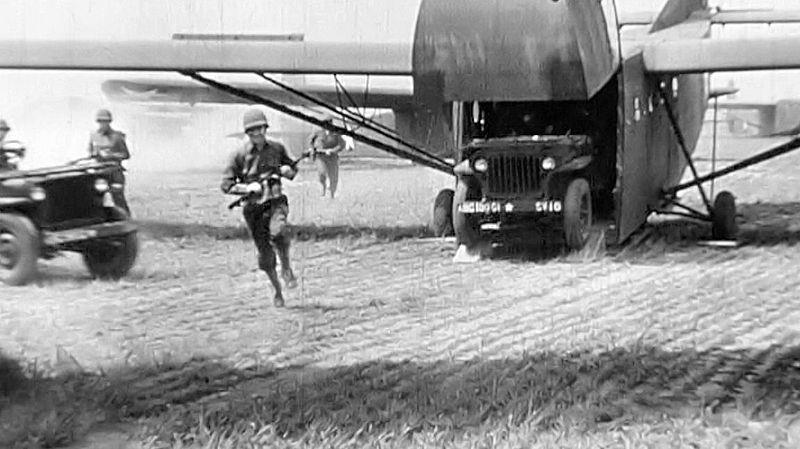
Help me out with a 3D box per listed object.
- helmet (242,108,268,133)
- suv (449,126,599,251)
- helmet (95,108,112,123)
[{"bbox_3d":[-2.155,-1.537,10.338,0.262,0.384,0.375,-10,6,-10],"label":"helmet"},{"bbox_3d":[2.513,-0.541,13.966,2.261,2.073,4.331,0,1,17],"label":"suv"},{"bbox_3d":[-5.714,-2.059,13.422,0.224,0.249,0.274,0,-1,4],"label":"helmet"}]
